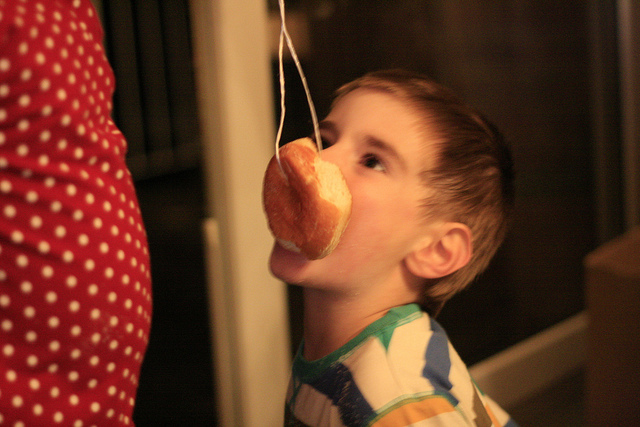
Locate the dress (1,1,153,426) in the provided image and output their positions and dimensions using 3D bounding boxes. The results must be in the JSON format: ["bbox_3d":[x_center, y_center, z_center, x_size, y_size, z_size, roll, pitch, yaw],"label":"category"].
[{"bbox_3d":[-0.400,0.012,1.020,0.241,0.669,0.141,-9,15,-30],"label":"dress"}]

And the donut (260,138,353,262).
[{"bbox_3d":[-0.020,-0.034,1.289,0.176,0.230,0.078,7,13,41],"label":"donut"}]
